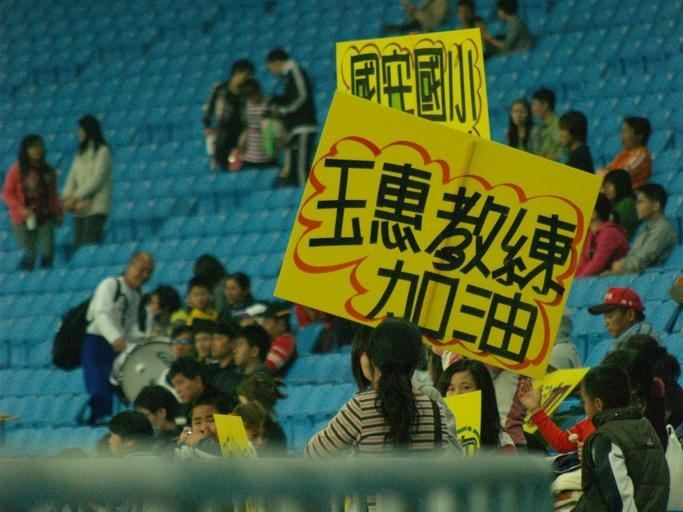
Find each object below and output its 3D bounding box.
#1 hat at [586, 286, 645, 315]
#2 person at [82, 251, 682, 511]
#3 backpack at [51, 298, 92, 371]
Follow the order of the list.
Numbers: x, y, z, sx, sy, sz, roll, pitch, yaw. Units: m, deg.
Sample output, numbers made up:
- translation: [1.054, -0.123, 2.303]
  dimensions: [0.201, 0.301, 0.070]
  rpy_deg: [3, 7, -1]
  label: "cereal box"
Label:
- translation: [1.916, 0.305, 12.210]
  dimensions: [0.311, 0.152, 0.188]
  rpy_deg: [2, -6, 9]
  label: "hat"
- translation: [0.369, 0.776, 10.616]
  dimensions: [2.262, 1.448, 0.511]
  rpy_deg: [-1, 4, 11]
  label: "person"
- translation: [-1.996, 0.576, 12.972]
  dimensions: [0.186, 0.485, 0.385]
  rpy_deg: [13, 4, -42]
  label: "backpack"
